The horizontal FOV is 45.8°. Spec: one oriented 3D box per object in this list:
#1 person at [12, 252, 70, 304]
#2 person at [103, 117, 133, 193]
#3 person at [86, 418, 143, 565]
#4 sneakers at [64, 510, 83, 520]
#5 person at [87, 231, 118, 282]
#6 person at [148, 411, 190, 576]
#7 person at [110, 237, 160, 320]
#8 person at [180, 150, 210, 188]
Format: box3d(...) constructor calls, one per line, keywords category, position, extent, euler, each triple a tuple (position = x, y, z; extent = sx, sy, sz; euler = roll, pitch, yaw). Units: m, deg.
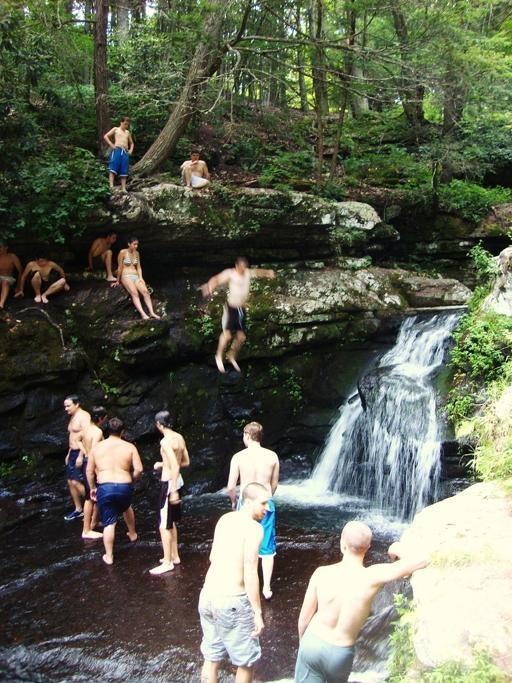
box3d(category="person", position=(-3.511, -1.083, 10.027), extent=(0.806, 0.698, 0.595), euler=(4, 28, -7))
box3d(category="person", position=(-2.292, -3.052, 10.062), extent=(0.416, 1.266, 0.839), euler=(1, 1, -11))
box3d(category="person", position=(-1.473, 1.523, 6.246), extent=(0.519, 1.501, 0.826), euler=(0, 1, -16))
box3d(category="sneakers", position=(-2.356, 2.251, 7.829), extent=(0.232, 0.085, 0.114), euler=(-3, 13, -18))
box3d(category="person", position=(-2.582, -1.465, 10.442), extent=(0.608, 0.820, 0.458), euler=(9, 3, 30))
box3d(category="person", position=(-0.863, 1.476, 5.980), extent=(0.362, 1.593, 0.708), euler=(1, 1, -10))
box3d(category="person", position=(-1.992, -1.029, 10.017), extent=(0.684, 1.353, 0.993), euler=(0, 1, -19))
box3d(category="person", position=(-1.077, -2.963, 10.687), extent=(0.479, 0.721, 0.691), euler=(1, 1, -8))
